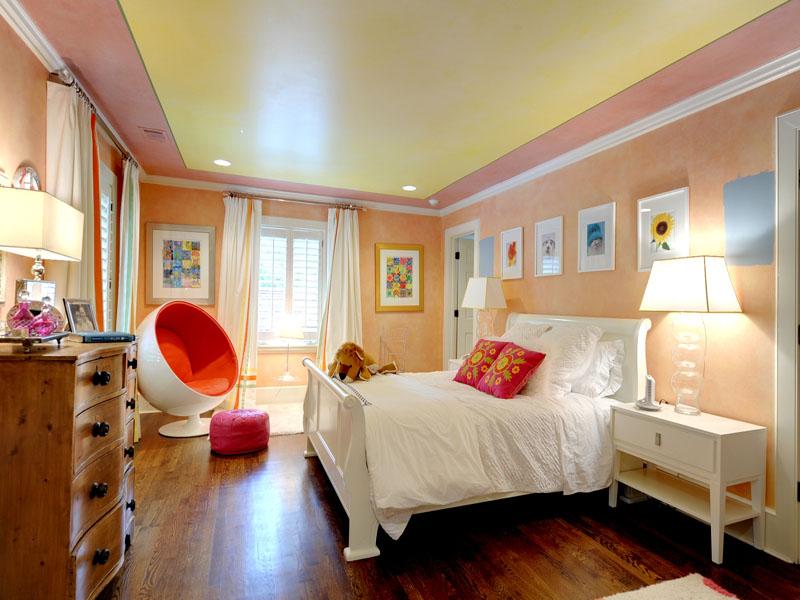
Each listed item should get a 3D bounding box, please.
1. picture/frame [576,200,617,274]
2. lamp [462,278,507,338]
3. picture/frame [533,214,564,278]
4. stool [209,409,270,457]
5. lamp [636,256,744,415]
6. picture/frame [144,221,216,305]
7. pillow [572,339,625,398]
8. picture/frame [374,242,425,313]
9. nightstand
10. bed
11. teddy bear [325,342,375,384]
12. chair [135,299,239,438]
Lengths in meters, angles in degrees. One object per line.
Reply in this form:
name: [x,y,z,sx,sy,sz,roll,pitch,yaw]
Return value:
picture/frame: [1.643,-0.520,4.534,0.100,0.578,0.439,-3,11,-20]
lamp: [0.903,0.091,5.503,0.346,0.603,0.335,7,10,6]
picture/frame: [1.377,-0.501,5.032,0.092,0.555,0.416,-3,11,-18]
stool: [-1.419,1.171,4.827,0.523,0.383,0.579,-1,-2,9]
lamp: [2.035,0.145,3.819,0.589,1.023,0.432,6,29,39]
picture/frame: [-2.408,-0.413,5.876,0.877,1.203,0.076,0,5,-24]
pillow: [1.549,0.514,4.104,0.383,0.418,0.119,2,-8,31]
picture/frame: [-0.036,-0.294,6.794,0.829,1.116,0.073,-1,4,-20]
nightstand: [1.909,1.140,3.693,0.489,0.750,0.869,-1,3,-26]
bed: [0.388,1.030,3.927,1.703,1.127,1.750,1,-3,-18]
teddy bear: [-0.377,0.497,4.515,0.359,0.311,0.494,4,7,20]
chair: [-2.045,0.632,5.128,0.845,1.234,0.964,0,1,20]
